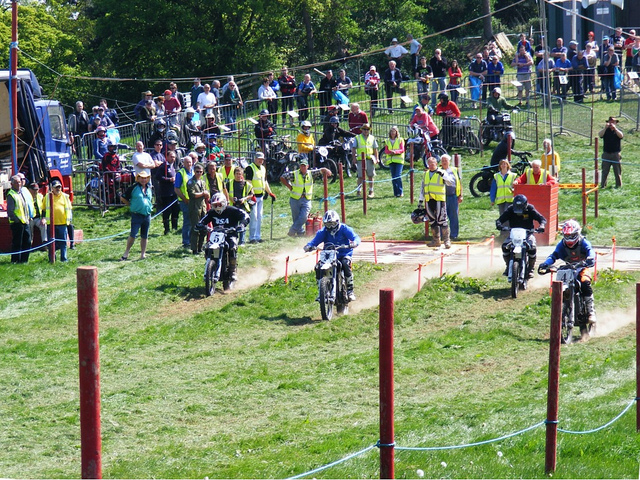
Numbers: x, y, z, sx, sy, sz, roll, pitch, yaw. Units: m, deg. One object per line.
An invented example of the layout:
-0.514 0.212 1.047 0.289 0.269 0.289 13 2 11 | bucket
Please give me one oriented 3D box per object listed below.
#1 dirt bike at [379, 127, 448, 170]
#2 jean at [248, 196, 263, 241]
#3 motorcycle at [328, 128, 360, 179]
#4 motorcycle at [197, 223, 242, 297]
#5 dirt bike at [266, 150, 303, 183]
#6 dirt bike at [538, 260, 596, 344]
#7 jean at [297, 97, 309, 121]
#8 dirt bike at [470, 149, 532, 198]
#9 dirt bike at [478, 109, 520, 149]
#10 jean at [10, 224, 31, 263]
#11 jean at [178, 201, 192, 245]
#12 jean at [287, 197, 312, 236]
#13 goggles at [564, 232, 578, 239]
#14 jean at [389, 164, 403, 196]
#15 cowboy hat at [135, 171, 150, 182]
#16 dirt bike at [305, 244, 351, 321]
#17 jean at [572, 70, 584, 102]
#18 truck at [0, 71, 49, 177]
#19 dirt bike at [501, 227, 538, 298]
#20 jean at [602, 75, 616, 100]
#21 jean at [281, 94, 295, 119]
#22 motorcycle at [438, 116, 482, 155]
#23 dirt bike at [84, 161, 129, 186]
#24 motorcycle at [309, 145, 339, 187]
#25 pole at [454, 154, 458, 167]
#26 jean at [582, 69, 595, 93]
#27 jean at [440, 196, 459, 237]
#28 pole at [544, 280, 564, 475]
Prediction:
3.318 -3.171 54.934 2.252 1.396 1.318 -2 1 29 | dirt bike
-1.932 -0.642 48.667 0.429 1.335 0.585 -10 7 -37 | jean
0.985 -2.833 54.694 1.042 1.045 1.603 -5 11 -21 | motorcycle
-2.801 0.502 45.224 1.034 2.017 0.981 -6 6 2 | motorcycle
-1.195 -2.541 54.184 0.845 0.852 1.318 19 -17 -37 | dirt bike
6.633 1.586 43.209 1.137 1.460 2.424 -15 1 21 | dirt bike
-0.588 -4.826 58.586 0.433 0.828 0.695 -6 6 -1 | jean
6.018 -2.107 52.268 2.164 1.369 1.226 -5 14 -6 | dirt bike
6.533 -3.981 56.727 1.014 1.110 1.710 -2 6 -28 | dirt bike
-8.899 0.070 47.695 0.713 1.131 0.451 -8 6 -18 | jean
-3.966 -0.514 48.086 0.240 1.325 0.756 -8 6 -22 | jean
-0.620 -0.746 49.053 0.758 1.198 0.405 -4 6 22 | jean
6.719 -0.111 42.618 0.338 0.151 0.095 -6 6 5 | goggles
2.594 -1.997 52.815 0.374 1.092 0.960 -6 6 3 | jean
-5.269 -1.908 47.777 0.368 0.147 0.421 2 -8 -8 | cowboy hat
0.308 1.141 43.732 0.564 1.974 1.258 -2 7 36 | dirt bike
9.875 -5.891 60.970 0.466 1.128 0.825 -5 6 9 | jean
-9.308 -3.627 49.647 1.397 3.299 2.579 -7 6 -10 | truck
5.568 0.606 44.676 0.492 1.792 1.235 -4 6 25 | dirt bike
11.071 -5.830 61.055 0.460 0.918 0.437 -5 6 10 | jean
-1.135 -4.817 57.782 0.054 0.819 0.831 4 7 36 | jean
5.049 -3.715 56.596 0.913 1.074 1.817 -11 12 -37 | motorcycle
-7.198 -2.207 52.573 1.083 0.658 1.682 -12 9 -44 | dirt bike
0.217 -2.532 53.466 0.789 0.917 1.586 -3 4 -12 | motorcycle
4.236 -2.448 49.432 0.084 0.381 0.210 -8 6 -15 | pole
10.352 -6.118 61.475 0.807 0.757 0.194 -1 5 -20 | jean
4.053 -0.731 48.532 0.365 1.277 0.421 -6 6 4 | jean
5.414 3.106 36.757 0.770 3.638 0.463 4 13 20 | pole
